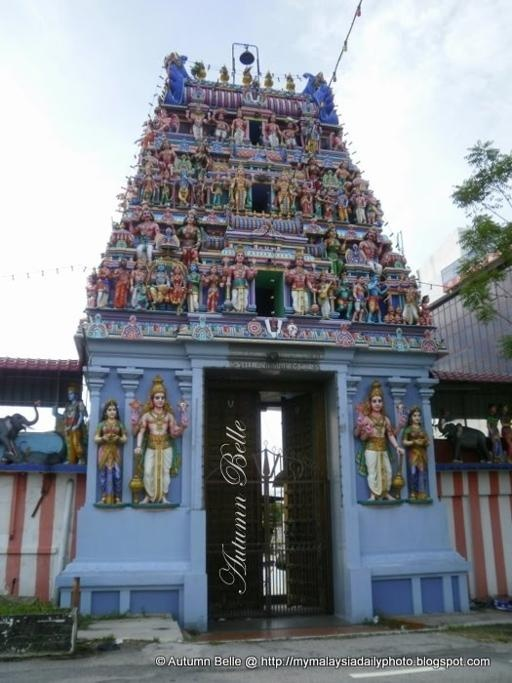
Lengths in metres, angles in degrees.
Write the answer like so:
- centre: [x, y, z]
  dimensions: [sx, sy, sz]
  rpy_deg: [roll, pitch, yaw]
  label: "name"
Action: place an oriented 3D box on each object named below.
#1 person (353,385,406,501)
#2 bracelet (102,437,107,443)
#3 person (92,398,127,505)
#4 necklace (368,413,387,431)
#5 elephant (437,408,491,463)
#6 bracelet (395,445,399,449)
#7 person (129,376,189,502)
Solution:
- centre: [2.023, 1.614, 10.146]
  dimensions: [0.830, 1.913, 0.283]
  rpy_deg: [5, -17, -21]
  label: "person"
- centre: [-2.238, 1.435, 9.037]
  dimensions: [0.066, 0.083, 0.030]
  rpy_deg: [7, 6, -33]
  label: "bracelet"
- centre: [-2.171, 1.628, 9.092]
  dimensions: [0.439, 1.536, 0.297]
  rpy_deg: [2, -17, -14]
  label: "person"
- centre: [2.022, 1.327, 10.140]
  dimensions: [0.265, 0.254, 0.103]
  rpy_deg: [6, -22, -5]
  label: "necklace"
- centre: [4.002, 1.826, 11.765]
  dimensions: [1.166, 0.838, 0.514]
  rpy_deg: [9, -32, 5]
  label: "elephant"
- centre: [2.337, 1.731, 10.136]
  dimensions: [0.036, 0.052, 0.039]
  rpy_deg: [-14, -43, 19]
  label: "bracelet"
- centre: [-1.498, 1.476, 9.307]
  dimensions: [0.805, 1.924, 0.297]
  rpy_deg: [1, -17, -11]
  label: "person"
